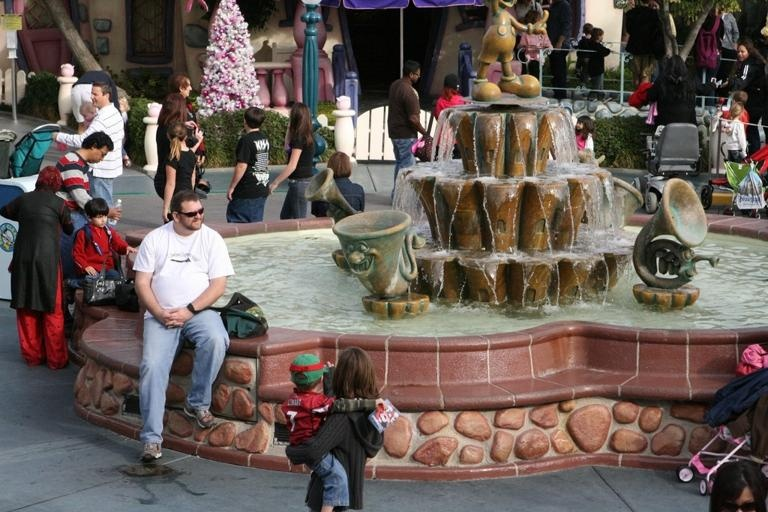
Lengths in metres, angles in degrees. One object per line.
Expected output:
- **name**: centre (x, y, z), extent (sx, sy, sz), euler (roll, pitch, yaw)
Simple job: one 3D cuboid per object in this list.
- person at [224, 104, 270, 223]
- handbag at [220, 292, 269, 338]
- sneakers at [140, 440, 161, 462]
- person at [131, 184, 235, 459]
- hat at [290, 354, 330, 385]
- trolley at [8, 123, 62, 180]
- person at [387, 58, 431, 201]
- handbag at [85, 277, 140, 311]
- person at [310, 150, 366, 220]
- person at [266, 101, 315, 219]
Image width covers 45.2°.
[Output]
- **person**: centre (-1.712, -1.117, 11.601), extent (0.520, 1.466, 0.797), euler (-1, 9, -9)
- **handbag**: centre (-1.228, 0.512, 8.092), extent (0.383, 0.262, 0.295), euler (3, 17, 19)
- **sneakers**: centre (-1.987, 1.636, 7.871), extent (0.167, 0.180, 0.208), euler (-2, 9, -12)
- **person**: centre (-1.720, 0.570, 8.024), extent (0.830, 2.229, 0.672), euler (-2, 9, -16)
- **hat**: centre (-0.511, 0.794, 6.587), extent (0.178, 0.131, 0.242), euler (8, 16, 25)
- **trolley**: centre (-4.660, -1.384, 12.189), extent (0.402, 0.879, 0.409), euler (26, 22, 6)
- **person**: centre (0.385, -2.193, 14.918), extent (0.622, 1.815, 0.917), euler (0, 9, -1)
- **handbag**: centre (-2.802, 0.375, 9.473), extent (0.413, 0.280, 0.411), euler (2, 2, 0)
- **person**: centre (-0.595, -0.894, 11.885), extent (0.590, 0.887, 1.217), euler (-1, 9, -9)
- **person**: centre (-1.160, -1.204, 12.027), extent (0.485, 1.523, 0.816), euler (0, 9, -4)
